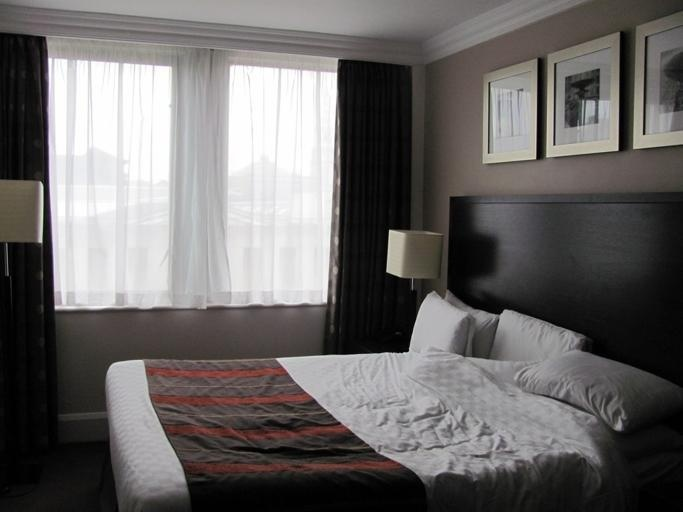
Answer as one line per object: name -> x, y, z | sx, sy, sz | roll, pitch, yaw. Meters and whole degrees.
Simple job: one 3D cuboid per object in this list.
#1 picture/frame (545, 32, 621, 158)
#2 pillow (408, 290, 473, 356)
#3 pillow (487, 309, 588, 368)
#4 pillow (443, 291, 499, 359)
picture/frame -> 1.583, -1.025, 3.455 | 0.075, 0.727, 0.610 | -2, 9, -23
pillow -> 0.774, 0.516, 4.026 | 0.141, 0.326, 0.478 | 6, -2, -15
pillow -> 1.266, 0.551, 3.496 | 0.145, 0.371, 0.344 | 35, -26, -30
pillow -> 1.023, 0.540, 3.849 | 0.096, 0.331, 0.315 | 24, -7, -36
